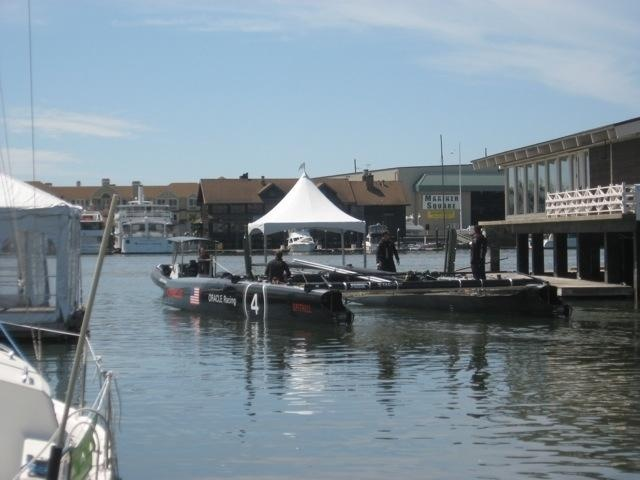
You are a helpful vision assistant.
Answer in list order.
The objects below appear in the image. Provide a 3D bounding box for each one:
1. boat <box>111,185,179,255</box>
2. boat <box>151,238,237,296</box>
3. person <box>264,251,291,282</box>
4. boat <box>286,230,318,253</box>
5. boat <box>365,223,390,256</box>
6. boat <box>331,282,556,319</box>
[{"bbox_3d":[-12.379,-0.643,88.624,3.868,3.679,5.592,-1,13,-9],"label":"boat"},{"bbox_3d":[-4.258,0.843,42.133,2.584,1.973,4.292,1,-4,-26],"label":"boat"},{"bbox_3d":[-0.874,0.690,27.701,0.598,0.914,0.469,7,17,14],"label":"person"},{"bbox_3d":[-1.213,0.146,83.694,1.799,1.526,4.863,-2,-2,-8],"label":"boat"},{"bbox_3d":[4.176,-0.188,86.069,1.300,1.823,3.455,0,-3,0],"label":"boat"},{"bbox_3d":[2.610,1.361,28.305,7.224,0.963,1.427,-3,-3,42],"label":"boat"}]
